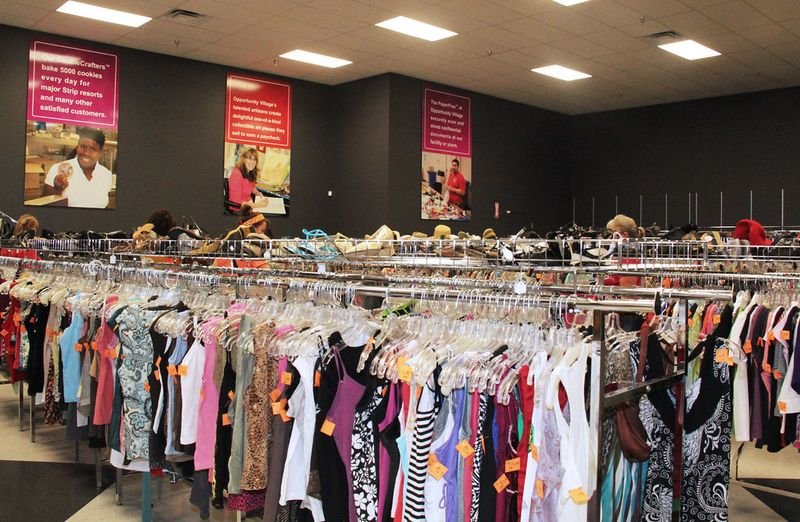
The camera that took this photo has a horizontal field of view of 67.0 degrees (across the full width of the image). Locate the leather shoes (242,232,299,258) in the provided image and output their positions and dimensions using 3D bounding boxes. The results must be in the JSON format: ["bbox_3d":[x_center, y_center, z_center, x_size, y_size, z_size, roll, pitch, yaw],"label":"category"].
[{"bbox_3d":[-1.088,-0.112,4.974,0.436,0.165,0.280,0,2,42],"label":"leather shoes"}]

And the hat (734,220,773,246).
[{"bbox_3d":[3.254,-0.271,5.634,0.252,0.246,0.477,1,0,29],"label":"hat"}]

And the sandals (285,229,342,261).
[{"bbox_3d":[-0.639,-0.112,4.368,0.316,0.144,0.229,6,7,42],"label":"sandals"}]

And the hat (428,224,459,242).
[{"bbox_3d":[0.393,-0.248,5.644,0.308,0.104,0.305,-13,14,-42],"label":"hat"}]

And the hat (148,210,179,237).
[{"bbox_3d":[-2.856,-0.449,7.302,0.318,0.356,0.351,4,20,4],"label":"hat"}]

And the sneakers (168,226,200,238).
[{"bbox_3d":[-2.119,-0.282,6.012,0.224,0.118,0.375,0,-2,-34],"label":"sneakers"}]
